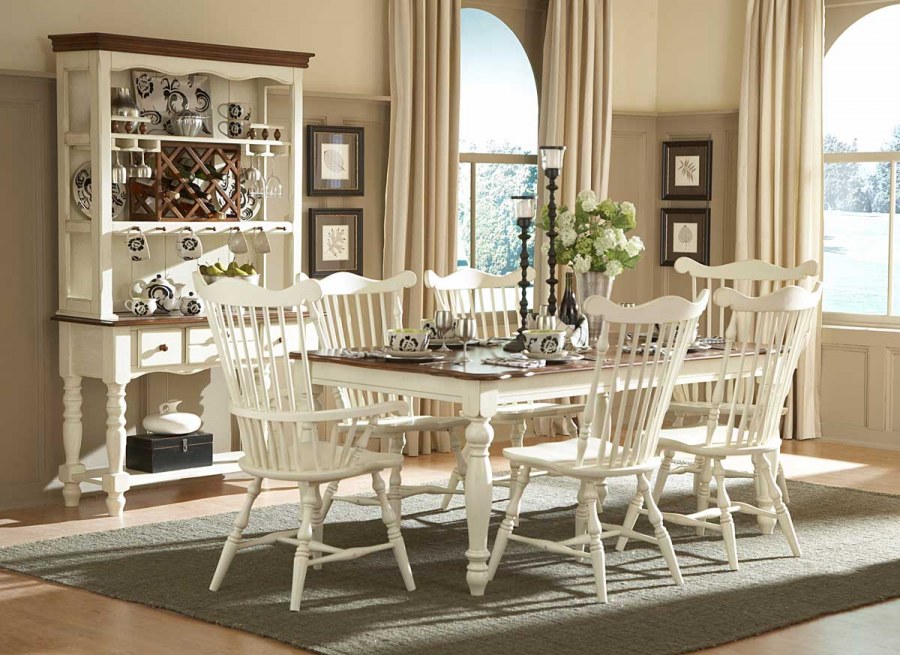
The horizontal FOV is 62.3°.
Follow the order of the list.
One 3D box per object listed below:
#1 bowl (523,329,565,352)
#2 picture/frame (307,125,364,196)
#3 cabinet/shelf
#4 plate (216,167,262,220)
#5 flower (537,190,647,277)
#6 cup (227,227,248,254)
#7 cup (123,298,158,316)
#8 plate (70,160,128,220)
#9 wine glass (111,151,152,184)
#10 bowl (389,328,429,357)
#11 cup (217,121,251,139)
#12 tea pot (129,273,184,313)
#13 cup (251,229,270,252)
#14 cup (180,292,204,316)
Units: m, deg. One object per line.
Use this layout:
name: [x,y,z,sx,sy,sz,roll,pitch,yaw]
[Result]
bowl: [0.418,0.052,3.147,0.118,0.066,0.119,-1,1,0]
picture/frame: [-0.794,-1.156,5.178,0.509,0.468,0.032,11,17,33]
cabinet/shelf: [-1.479,-1.179,4.452,0.281,0.922,1.438,15,20,35]
plate: [-1.336,-0.838,4.670,0.281,0.302,0.085,-2,4,2]
flower: [0.758,-0.418,3.613,0.514,0.406,0.431,-3,10,-3]
cup: [-1.307,-0.540,4.579,0.083,0.118,0.121,-20,-11,-12]
cup: [-1.762,-0.120,4.219,0.159,0.082,0.110,1,3,15]
plate: [-2.008,-0.777,4.249,0.171,0.318,0.285,0,0,13]
wine glass: [-1.821,-0.912,4.247,0.269,0.209,0.097,-2,2,-42]
bowl: [-0.172,0.061,3.156,0.138,0.083,0.126,-2,2,0]
cup: [-1.371,-1.263,4.758,0.227,0.087,0.124,0,2,12]
tea pot: [-1.742,-0.188,4.295,0.319,0.183,0.208,3,1,25]
cup: [-1.165,-0.532,4.582,0.104,0.156,0.057,-8,-13,-12]
cup: [-1.529,-0.133,4.367,0.134,0.108,0.126,0,3,0]
